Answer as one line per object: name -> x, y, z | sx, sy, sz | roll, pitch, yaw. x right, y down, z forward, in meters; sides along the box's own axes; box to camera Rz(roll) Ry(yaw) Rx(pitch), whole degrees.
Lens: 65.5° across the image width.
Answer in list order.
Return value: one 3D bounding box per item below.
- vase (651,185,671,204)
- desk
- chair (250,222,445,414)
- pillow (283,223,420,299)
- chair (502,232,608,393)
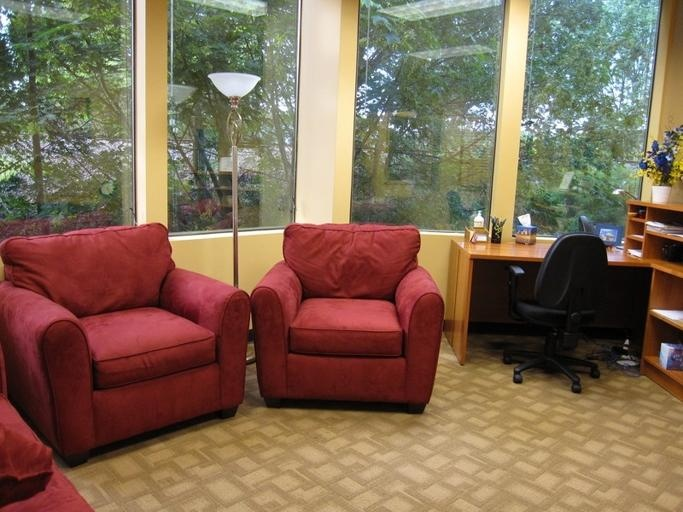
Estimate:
vase -> 2.778, -0.516, 4.636 | 0.175, 0.153, 0.192 | 1, -7, 44
desk -> 1.893, 0.352, 5.118 | 1.498, 0.957, 1.479 | 5, 12, 9
chair -> 0.043, 0.460, 4.184 | 1.343, 1.311, 1.268 | 1, 6, 0
pillow -> 0.079, 0.072, 4.332 | 1.031, 0.629, 0.348 | 5, 19, 6
chair -> 1.705, 0.406, 4.221 | 0.743, 1.250, 0.682 | 6, 16, 26
